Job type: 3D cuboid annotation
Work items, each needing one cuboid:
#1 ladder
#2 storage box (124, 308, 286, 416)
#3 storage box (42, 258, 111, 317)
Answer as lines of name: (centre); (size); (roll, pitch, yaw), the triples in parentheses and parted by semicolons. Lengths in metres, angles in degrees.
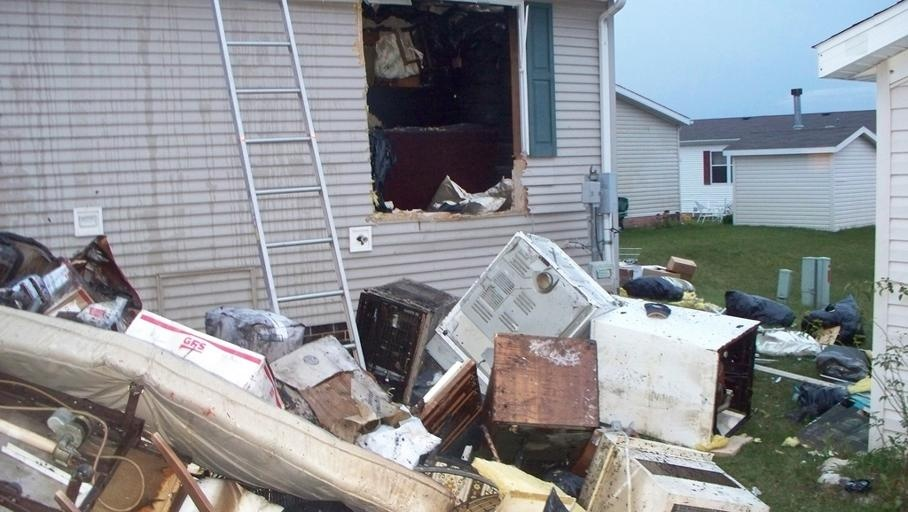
ladder: (-1.703, -0.882, 6.376); (1.439, 3.808, 1.719); (0, 8, -20)
storage box: (-1.856, 0.827, 4.652); (0.989, 0.342, 0.849); (24, -12, -1)
storage box: (-3.144, 0.230, 5.140); (0.358, 0.161, 0.489); (33, 30, -5)
